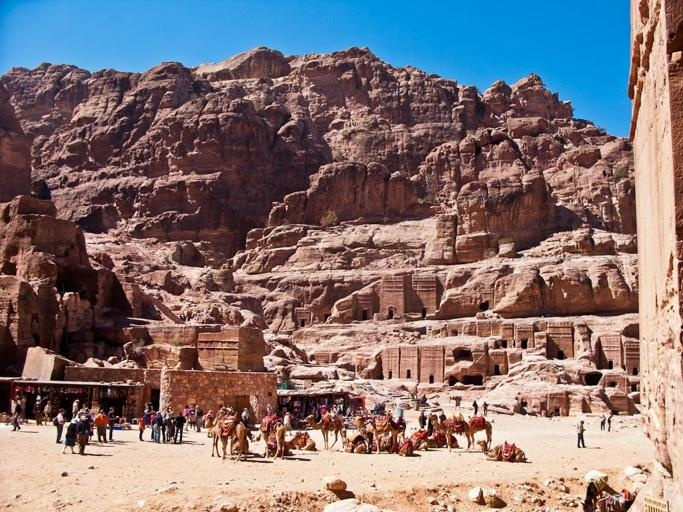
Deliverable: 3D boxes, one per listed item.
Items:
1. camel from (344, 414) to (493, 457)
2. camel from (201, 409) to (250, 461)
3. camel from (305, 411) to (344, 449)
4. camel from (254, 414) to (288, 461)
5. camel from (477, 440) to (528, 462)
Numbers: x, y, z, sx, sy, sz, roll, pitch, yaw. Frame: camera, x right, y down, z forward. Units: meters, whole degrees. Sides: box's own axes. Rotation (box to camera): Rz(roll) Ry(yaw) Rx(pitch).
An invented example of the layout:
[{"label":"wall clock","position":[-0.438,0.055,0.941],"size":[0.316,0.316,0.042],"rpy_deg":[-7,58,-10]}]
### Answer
[{"label":"camel","position":[3.162,7.318,38.682],"size":[5.655,1.858,3.447],"rpy_deg":[-1,-14,0]},{"label":"camel","position":[-4.336,6.747,35.830],"size":[1.365,2.048,2.696],"rpy_deg":[2,-14,-12]},{"label":"camel","position":[-0.685,7.234,38.770],"size":[1.950,1.391,0.620],"rpy_deg":[3,-15,-34]},{"label":"camel","position":[-2.838,6.861,36.109],"size":[0.621,1.524,2.065],"rpy_deg":[2,-6,-40]},{"label":"camel","position":[6.426,7.759,36.989],"size":[1.758,0.890,0.764],"rpy_deg":[3,-29,13]}]
